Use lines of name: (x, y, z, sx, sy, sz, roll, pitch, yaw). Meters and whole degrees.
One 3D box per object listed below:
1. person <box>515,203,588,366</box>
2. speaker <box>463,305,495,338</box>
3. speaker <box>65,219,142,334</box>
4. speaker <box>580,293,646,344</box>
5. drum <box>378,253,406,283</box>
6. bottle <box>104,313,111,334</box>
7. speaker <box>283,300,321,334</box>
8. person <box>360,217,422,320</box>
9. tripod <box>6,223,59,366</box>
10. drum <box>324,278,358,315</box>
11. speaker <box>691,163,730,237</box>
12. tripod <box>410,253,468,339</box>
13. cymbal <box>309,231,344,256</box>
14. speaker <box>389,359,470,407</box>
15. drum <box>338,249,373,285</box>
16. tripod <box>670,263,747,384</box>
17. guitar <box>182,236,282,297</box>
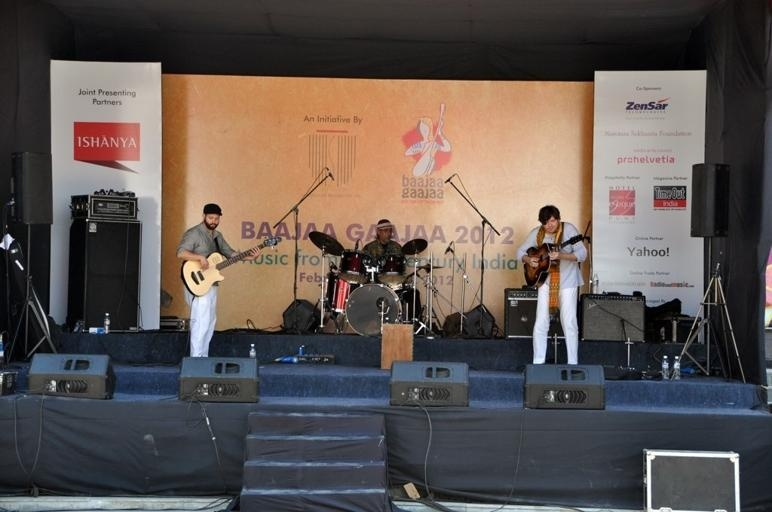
person: (2.127, 0.347, 16.641, 0.800, 1.996, 0.572, -1, -2, 20)
speaker: (1.276, 0.890, 17.995, 0.420, 0.416, 0.417, 1, -8, 4)
speaker: (-3.831, 0.238, 17.570, 0.938, 1.467, 0.326, 1, -2, -13)
speaker: (2.970, 0.797, 17.118, 0.894, 0.714, 0.588, 1, 1, 8)
drum: (0.084, 0.225, 17.818, 0.351, 0.355, 0.355, -19, -34, 30)
bottle: (-3.732, 0.873, 17.296, 0.091, 0.243, 0.395, 1, -2, -13)
speaker: (-1.183, 0.832, 18.196, 0.457, 0.446, 0.448, 8, -8, -22)
person: (0.034, 0.221, 18.113, 0.770, 0.962, 1.425, -9, -38, 20)
tripod: (-4.607, 0.456, 16.750, 0.632, 1.715, 0.993, 2, -3, -34)
drum: (-0.681, 0.514, 18.024, 0.465, 0.477, 0.470, 17, -9, 5)
speaker: (4.032, -0.699, 16.213, 0.430, 0.882, 0.207, 0, -2, 8)
tripod: (0.580, 0.438, 18.551, 0.979, 1.178, 1.193, 1, -3, 11)
cymbal: (-0.851, -0.188, 18.171, 0.479, 0.337, 0.665, 0, -2, -4)
speaker: (0.486, 1.453, 14.982, 0.903, 0.505, 0.219, 0, -2, -1)
drum: (-0.414, 0.140, 17.817, 0.447, 0.402, 0.450, -4, -5, 44)
tripod: (4.095, 0.778, 16.479, 0.623, 1.499, 1.337, 0, -2, 1)
guitar: (-2.108, 0.166, 16.607, 1.017, 0.673, 0.385, 1, -2, -9)
